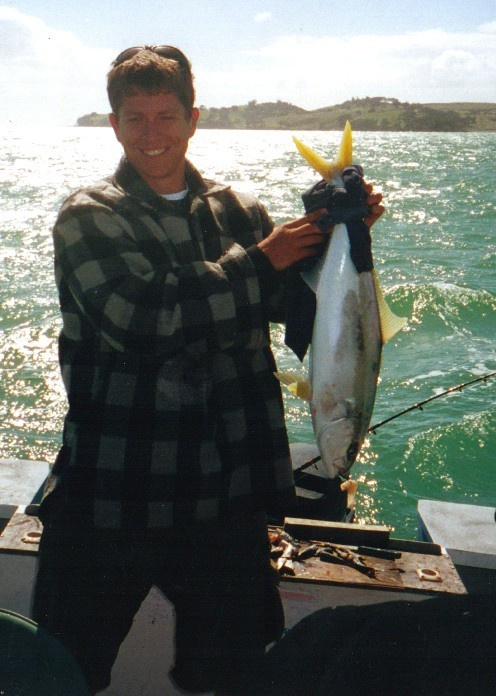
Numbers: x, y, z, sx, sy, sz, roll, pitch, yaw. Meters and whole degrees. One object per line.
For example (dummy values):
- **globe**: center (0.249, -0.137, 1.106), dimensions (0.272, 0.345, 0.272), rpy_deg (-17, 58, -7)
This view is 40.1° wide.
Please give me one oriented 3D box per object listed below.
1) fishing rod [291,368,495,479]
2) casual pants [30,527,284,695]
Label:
- **fishing rod**: center (1.106, 0.582, 4.849), dimensions (2.533, 0.037, 0.189), rpy_deg (-23, 19, -29)
- **casual pants**: center (-0.296, 0.878, 2.264), dimensions (0.867, 0.488, 0.286), rpy_deg (1, 1, -8)
